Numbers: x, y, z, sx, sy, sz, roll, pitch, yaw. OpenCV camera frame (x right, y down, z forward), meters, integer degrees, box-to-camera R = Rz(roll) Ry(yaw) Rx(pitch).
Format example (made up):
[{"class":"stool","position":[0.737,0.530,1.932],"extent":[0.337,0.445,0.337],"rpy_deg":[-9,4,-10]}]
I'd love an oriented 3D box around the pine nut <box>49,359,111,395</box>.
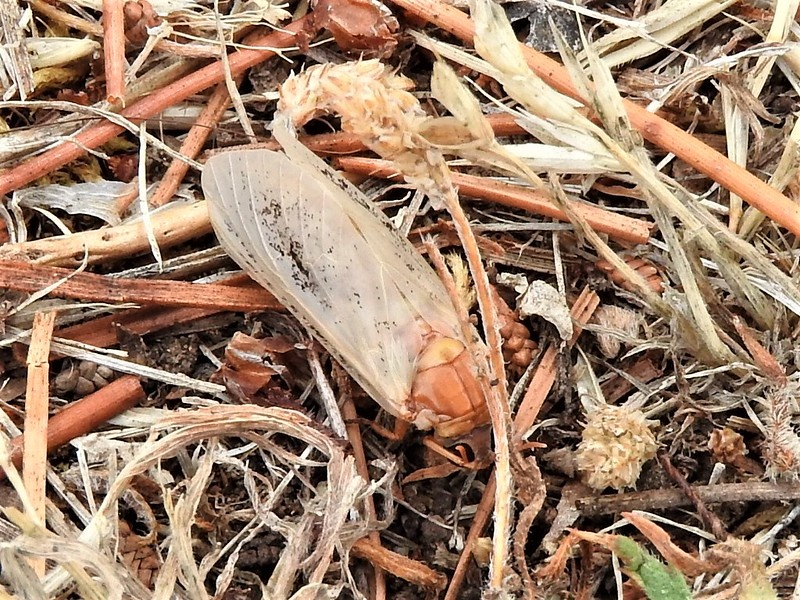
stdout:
[{"class":"pine nut","position":[-0.728,0.179,1.866],"extent":[0.132,0.051,0.062],"rpy_deg":[-6,54,5]}]

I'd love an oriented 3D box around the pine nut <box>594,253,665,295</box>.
[{"class":"pine nut","position":[0.550,-0.067,1.941],"extent":[0.143,0.079,0.041],"rpy_deg":[19,56,12]}]

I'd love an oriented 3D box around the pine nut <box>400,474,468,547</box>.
[{"class":"pine nut","position":[0.076,0.467,1.845],"extent":[0.158,0.143,0.147],"rpy_deg":[6,56,14]}]

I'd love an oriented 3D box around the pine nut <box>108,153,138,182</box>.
[{"class":"pine nut","position":[-0.669,-0.320,1.963],"extent":[0.063,0.023,0.065],"rpy_deg":[-10,92,-13]}]

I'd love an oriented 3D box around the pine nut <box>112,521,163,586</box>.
[{"class":"pine nut","position":[-0.575,0.554,1.783],"extent":[0.035,0.143,0.097],"rpy_deg":[-5,30,50]}]

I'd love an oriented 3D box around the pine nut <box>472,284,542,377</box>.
[{"class":"pine nut","position":[0.245,0.040,1.885],"extent":[0.078,0.166,0.071],"rpy_deg":[-8,17,29]}]
